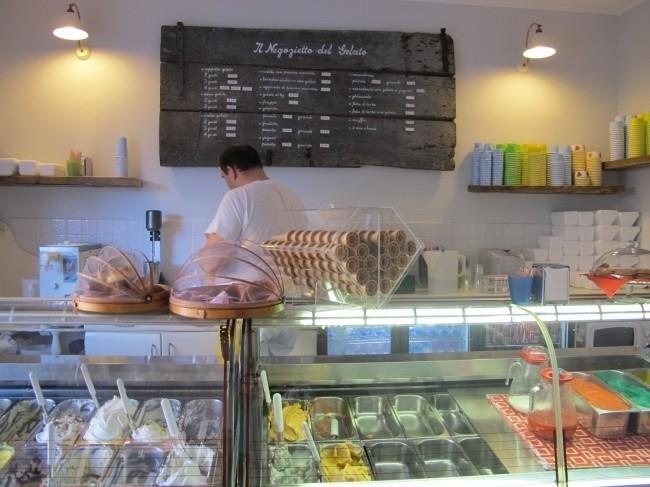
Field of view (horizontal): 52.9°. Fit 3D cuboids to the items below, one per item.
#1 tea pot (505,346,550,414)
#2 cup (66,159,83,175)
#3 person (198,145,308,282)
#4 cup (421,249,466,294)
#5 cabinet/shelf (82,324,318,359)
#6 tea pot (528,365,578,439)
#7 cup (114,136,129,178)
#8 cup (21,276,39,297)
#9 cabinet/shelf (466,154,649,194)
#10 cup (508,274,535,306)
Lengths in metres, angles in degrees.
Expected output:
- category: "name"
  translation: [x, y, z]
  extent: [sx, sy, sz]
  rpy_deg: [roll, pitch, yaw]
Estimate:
- category: "tea pot"
  translation: [0.801, 0.529, 2.601]
  extent: [0.181, 0.261, 0.237]
  rpy_deg: [2, -3, -35]
- category: "cup"
  translation: [-1.616, -0.494, 4.250]
  extent: [0.100, 0.107, 0.136]
  rpy_deg: [-4, 5, -20]
- category: "person"
  translation: [-0.356, -0.259, 3.407]
  extent: [0.531, 0.542, 2.113]
  rpy_deg: [-3, 5, -9]
- category: "cup"
  translation: [0.748, 0.179, 4.169]
  extent: [0.220, 0.257, 0.191]
  rpy_deg: [-2, 5, 8]
- category: "cabinet/shelf"
  translation: [-0.582, 0.368, 2.694]
  extent: [1.029, 0.145, 0.138]
  rpy_deg: [0, -1, 4]
- category: "tea pot"
  translation: [0.878, 0.616, 2.512]
  extent: [0.187, 0.270, 0.140]
  rpy_deg: [-1, 5, 14]
- category: "cup"
  translation: [-1.336, -0.574, 4.325]
  extent: [0.090, 0.276, 0.177]
  rpy_deg: [-4, 5, -16]
- category: "cup"
  translation: [-1.922, 0.281, 4.283]
  extent: [0.111, 0.112, 0.204]
  rpy_deg: [6, 2, -33]
- category: "cabinet/shelf"
  translation: [1.634, -0.447, 4.535]
  extent: [1.125, 0.251, 0.577]
  rpy_deg: [-1, 5, 20]
- category: "cup"
  translation: [0.772, 0.180, 2.574]
  extent: [0.101, 0.127, 0.106]
  rpy_deg: [3, -12, 1]
